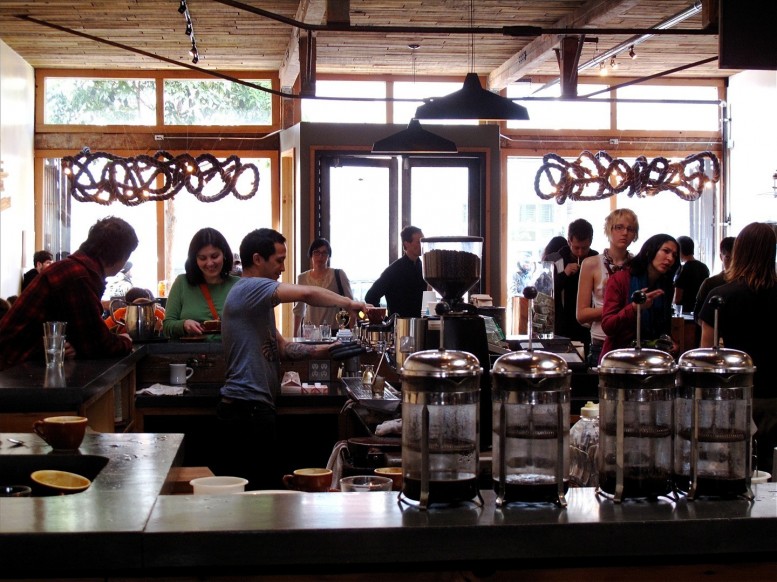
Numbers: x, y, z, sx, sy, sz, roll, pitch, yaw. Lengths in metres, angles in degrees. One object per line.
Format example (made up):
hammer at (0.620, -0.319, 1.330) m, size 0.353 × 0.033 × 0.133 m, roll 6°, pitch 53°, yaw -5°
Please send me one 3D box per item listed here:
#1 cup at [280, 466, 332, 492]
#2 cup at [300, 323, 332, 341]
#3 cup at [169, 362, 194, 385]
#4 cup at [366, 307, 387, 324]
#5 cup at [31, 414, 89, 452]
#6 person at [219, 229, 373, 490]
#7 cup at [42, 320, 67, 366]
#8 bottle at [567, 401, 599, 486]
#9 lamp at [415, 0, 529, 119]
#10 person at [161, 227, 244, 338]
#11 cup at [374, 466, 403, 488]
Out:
cup at (-0.246, 0.586, 2.415) m, size 0.106 × 0.045 × 0.082 m, roll -2°, pitch -2°, yaw -7°
cup at (-0.517, 0.292, 5.540) m, size 0.203 × 0.122 × 0.120 m, roll 3°, pitch 1°, yaw 3°
cup at (-1.235, 0.493, 4.593) m, size 0.120 × 0.131 × 0.183 m, roll 2°, pitch 2°, yaw -1°
cup at (-0.059, 0.123, 3.894) m, size 0.094 × 0.070 × 0.086 m, roll -1°, pitch 7°, yaw 0°
cup at (-1.057, 0.451, 2.487) m, size 0.175 × 0.100 × 0.118 m, roll 1°, pitch 2°, yaw -5°
person at (-0.583, 0.394, 4.091) m, size 0.591 × 1.436 × 0.834 m, roll 2°, pitch 2°, yaw -5°
cup at (-1.523, 0.231, 3.541) m, size 0.083 × 0.190 × 0.186 m, roll 1°, pitch 2°, yaw -20°
bottle at (0.564, 0.438, 2.232) m, size 0.076 × 0.230 × 0.095 m, roll 2°, pitch 2°, yaw 14°
lamp at (0.468, -1.304, 4.536) m, size 0.664 × 0.700 × 0.308 m, roll 0°, pitch -6°, yaw -6°
person at (-1.139, 0.051, 4.836) m, size 0.547 × 0.854 × 0.449 m, roll 1°, pitch 2°, yaw -37°
cup at (0.007, 0.544, 2.355) m, size 0.095 × 0.061 × 0.092 m, roll 0°, pitch -4°, yaw 0°
